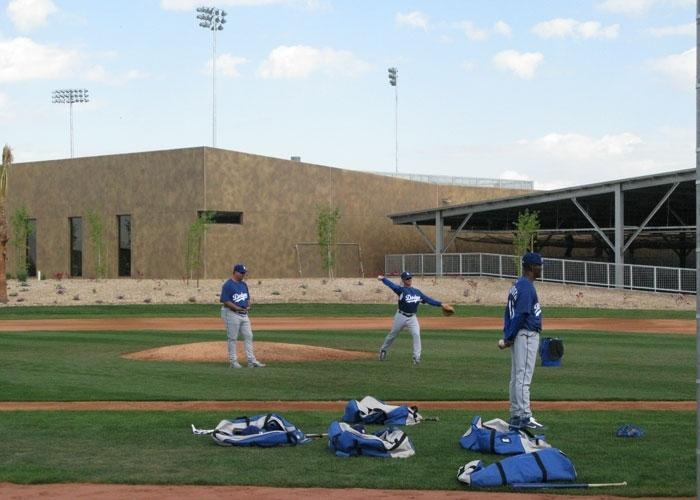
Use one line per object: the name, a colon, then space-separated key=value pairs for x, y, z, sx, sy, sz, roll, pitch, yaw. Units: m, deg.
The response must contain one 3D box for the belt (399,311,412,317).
belt: x=2.002 y=2.333 z=56.487 sx=0.494 sy=0.139 sz=0.092 roll=0 pitch=0 yaw=2
